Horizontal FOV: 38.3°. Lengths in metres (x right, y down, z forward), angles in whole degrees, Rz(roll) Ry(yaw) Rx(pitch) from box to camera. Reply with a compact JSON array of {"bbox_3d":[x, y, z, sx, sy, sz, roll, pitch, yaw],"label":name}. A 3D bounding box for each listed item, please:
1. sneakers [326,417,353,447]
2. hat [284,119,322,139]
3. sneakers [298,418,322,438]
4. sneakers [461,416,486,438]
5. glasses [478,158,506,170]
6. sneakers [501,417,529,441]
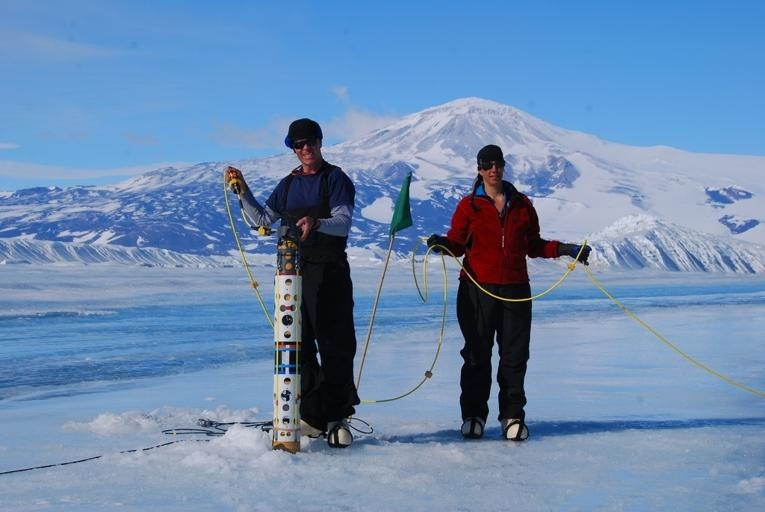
[{"bbox_3d":[-0.561,2.237,14.021,0.336,0.330,0.282,1,5,-3],"label":"sneakers"},{"bbox_3d":[-0.995,-1.619,13.980,0.412,0.259,0.251,0,5,-8],"label":"hat"},{"bbox_3d":[-0.930,2.209,14.127,0.308,0.142,0.254,-1,0,10],"label":"sneakers"},{"bbox_3d":[1.180,2.226,14.442,0.304,0.275,0.205,1,5,-1],"label":"sneakers"},{"bbox_3d":[1.423,-1.212,14.520,0.337,0.120,0.214,1,4,3],"label":"glasses"},{"bbox_3d":[1.711,2.247,14.288,0.316,0.215,0.349,0,4,3],"label":"sneakers"}]
